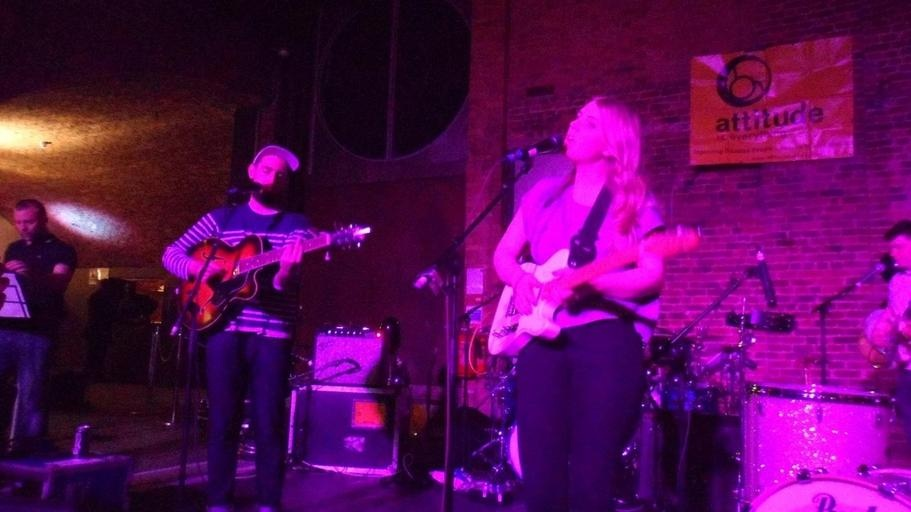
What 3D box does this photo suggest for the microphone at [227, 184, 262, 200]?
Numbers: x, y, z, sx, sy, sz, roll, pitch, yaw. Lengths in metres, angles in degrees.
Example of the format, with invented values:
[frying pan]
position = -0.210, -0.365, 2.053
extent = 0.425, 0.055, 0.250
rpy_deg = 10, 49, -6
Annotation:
[microphone]
position = -2.210, -0.661, 8.522
extent = 0.278, 0.103, 0.371
rpy_deg = -6, 2, 10
